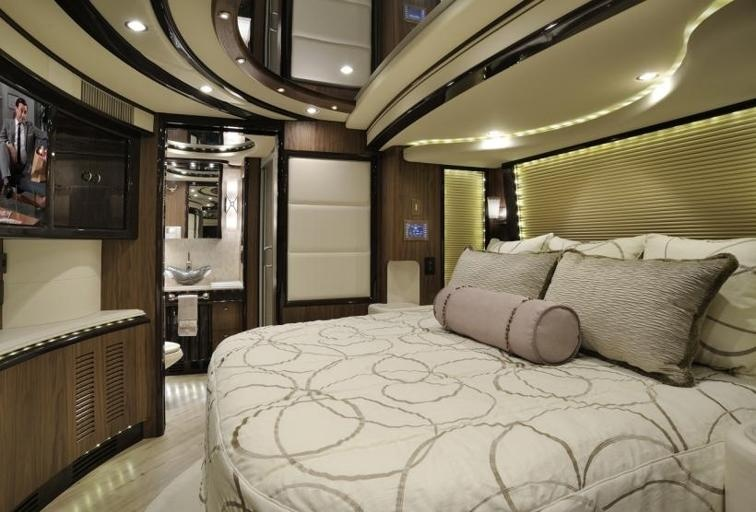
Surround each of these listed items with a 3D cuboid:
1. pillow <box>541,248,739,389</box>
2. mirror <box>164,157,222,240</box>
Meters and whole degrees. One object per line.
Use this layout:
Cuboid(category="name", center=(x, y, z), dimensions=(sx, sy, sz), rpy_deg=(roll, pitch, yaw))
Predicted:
Cuboid(category="pillow", center=(1.418, 0.355, 2.496), dimensions=(0.282, 0.533, 0.708), rpy_deg=(0, 3, -40))
Cuboid(category="mirror", center=(-2.182, -0.704, 5.664), dimensions=(0.667, 0.931, 0.090), rpy_deg=(-2, 4, -22))
